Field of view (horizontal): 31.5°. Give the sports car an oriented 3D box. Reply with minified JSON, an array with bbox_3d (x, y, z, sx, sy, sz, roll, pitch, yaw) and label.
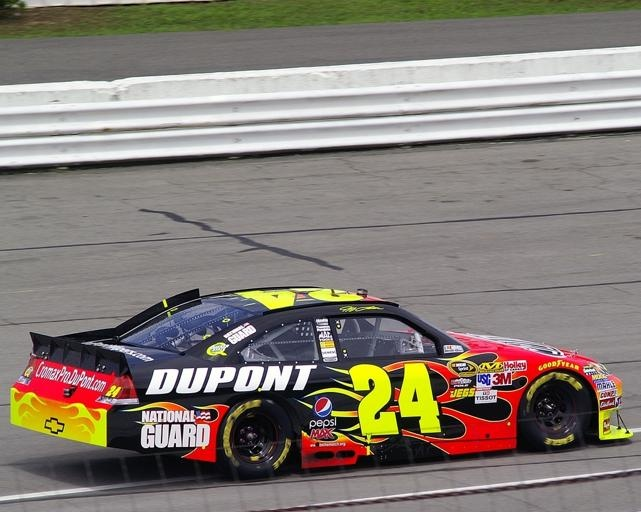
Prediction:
[{"bbox_3d":[-0.037,1.160,9.879,4.782,1.403,1.187,-6,19,-18],"label":"sports car"}]
